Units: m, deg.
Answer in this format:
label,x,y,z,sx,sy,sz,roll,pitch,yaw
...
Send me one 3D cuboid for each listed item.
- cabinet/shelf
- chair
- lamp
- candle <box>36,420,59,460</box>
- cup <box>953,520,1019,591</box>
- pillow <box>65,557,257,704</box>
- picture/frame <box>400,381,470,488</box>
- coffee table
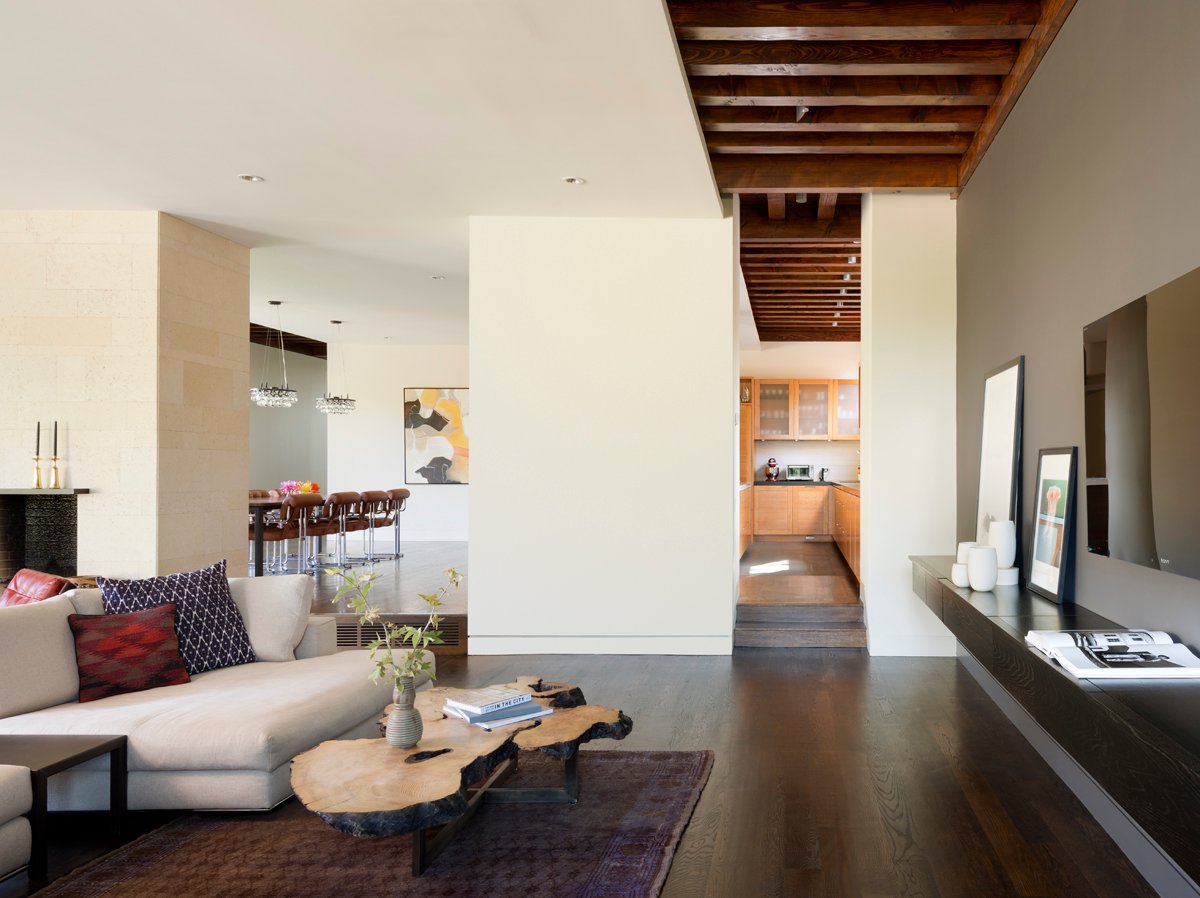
label,x,y,z,sx,sy,sz,roll,pitch,yaw
cabinet/shelf,2.890,0.377,11.786,2.761,2.408,1.329,0,-3,1
chair,-3.267,1.001,9.813,0.831,0.567,1.261,0,0,10
lamp,-4.401,-1.289,11.932,1.470,1.353,1.537,-1,0,7
candle,-4.121,-0.053,6.101,0.157,0.306,0.169,-3,5,-29
cup,2.118,0.557,4.481,0.369,0.357,0.406,0,-2,0
pillow,-2.214,0.908,4.104,0.625,0.556,0.179,2,-40,-47
picture/frame,-2.506,-0.199,12.707,0.016,1.579,1.599,1,2,28
coffee table,-0.604,1.356,3.347,0.840,0.593,1.309,3,5,38
